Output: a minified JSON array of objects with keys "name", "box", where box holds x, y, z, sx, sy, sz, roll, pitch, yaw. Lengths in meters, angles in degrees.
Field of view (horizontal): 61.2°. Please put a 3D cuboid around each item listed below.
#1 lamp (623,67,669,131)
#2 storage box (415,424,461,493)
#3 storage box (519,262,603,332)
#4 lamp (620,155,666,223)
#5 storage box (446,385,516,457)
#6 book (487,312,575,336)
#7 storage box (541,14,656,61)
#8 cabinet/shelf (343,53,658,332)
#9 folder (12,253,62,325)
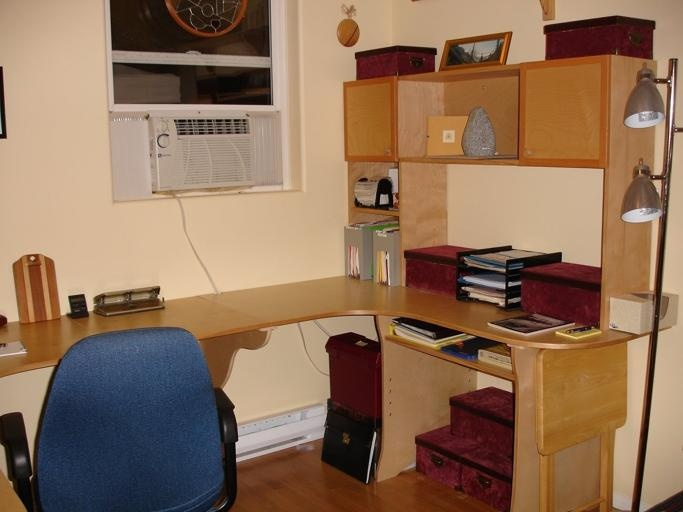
[{"name":"lamp","box":[1.203,-0.635,2.290,0.153,0.214,0.147,-9,14,-41]},{"name":"storage box","box":[0.549,1.154,3.254,0.228,0.149,0.235,4,5,38]},{"name":"storage box","box":[1.134,0.191,2.824,0.332,0.219,0.435,-9,13,-43]},{"name":"lamp","box":[1.251,-0.253,2.368,0.225,0.233,0.124,-11,15,-43]},{"name":"storage box","box":[0.836,0.875,3.226,0.372,0.185,0.266,-4,6,-42]},{"name":"book","box":[0.881,0.315,2.662,0.375,0.027,0.229,-8,13,-31]},{"name":"storage box","box":[1.150,-0.963,2.590,0.461,0.171,0.334,4,12,25]},{"name":"cabinet/shelf","box":[0.770,-0.413,3.325,0.434,1.237,1.835,-12,15,-34]},{"name":"folder","box":[-1.521,0.162,2.870,0.042,0.340,0.190,-8,-1,27]}]
